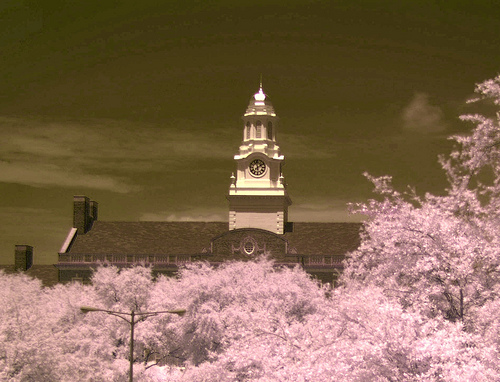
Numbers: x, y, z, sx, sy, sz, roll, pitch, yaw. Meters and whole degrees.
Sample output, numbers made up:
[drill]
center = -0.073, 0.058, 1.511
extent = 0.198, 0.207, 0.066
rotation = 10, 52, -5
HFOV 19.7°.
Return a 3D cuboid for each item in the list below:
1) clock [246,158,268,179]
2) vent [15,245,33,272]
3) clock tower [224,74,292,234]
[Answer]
[clock]
center = 0.617, -1.813, 120.631
extent = 1.605, 1.527, 0.128
rotation = 9, -5, 2
[vent]
center = -19.561, 5.985, 124.401
extent = 1.471, 2.408, 1.011
rotation = 9, -13, -33
[clock tower]
center = 0.773, -2.509, 120.775
extent = 4.231, 12.417, 1.438
rotation = 3, -11, 0
